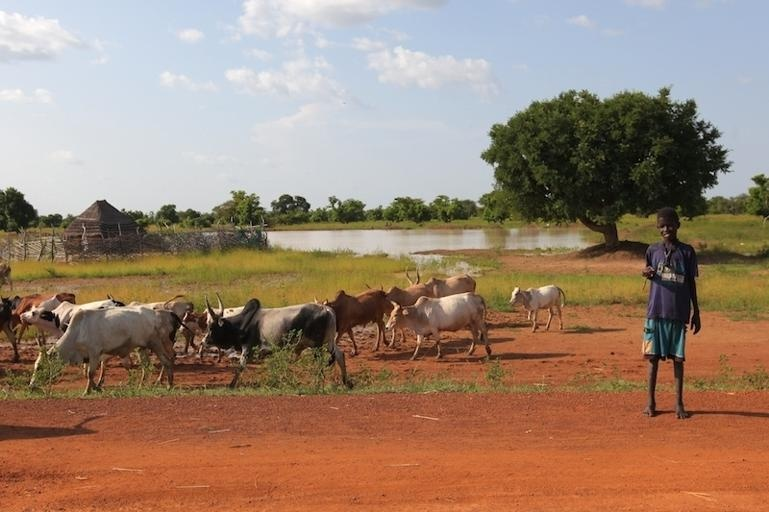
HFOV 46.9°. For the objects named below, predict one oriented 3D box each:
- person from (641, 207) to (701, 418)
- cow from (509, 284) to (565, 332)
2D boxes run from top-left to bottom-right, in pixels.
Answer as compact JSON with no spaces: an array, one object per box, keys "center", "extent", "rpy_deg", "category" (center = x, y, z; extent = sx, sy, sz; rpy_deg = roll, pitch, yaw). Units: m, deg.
[{"center":[5.162,1.025,16.164],"extent":[0.969,3.783,0.785],"rpy_deg":[1,10,13],"category":"person"},{"center":[4.071,1.255,23.511],"extent":[1.339,1.112,2.170],"rpy_deg":[1,9,17],"category":"cow"}]
